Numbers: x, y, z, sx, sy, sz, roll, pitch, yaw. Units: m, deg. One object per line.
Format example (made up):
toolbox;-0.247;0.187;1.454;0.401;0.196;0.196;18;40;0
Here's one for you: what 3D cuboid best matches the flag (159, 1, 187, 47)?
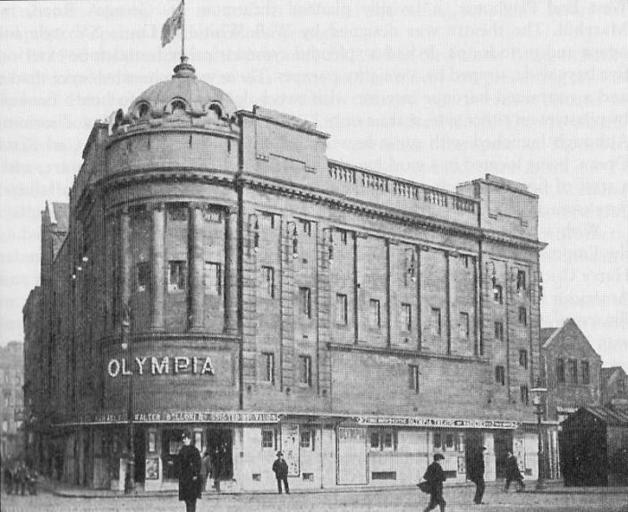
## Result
flag;-7.286;-11.998;88.852;1.105;2.399;2.268;1;8;-7
